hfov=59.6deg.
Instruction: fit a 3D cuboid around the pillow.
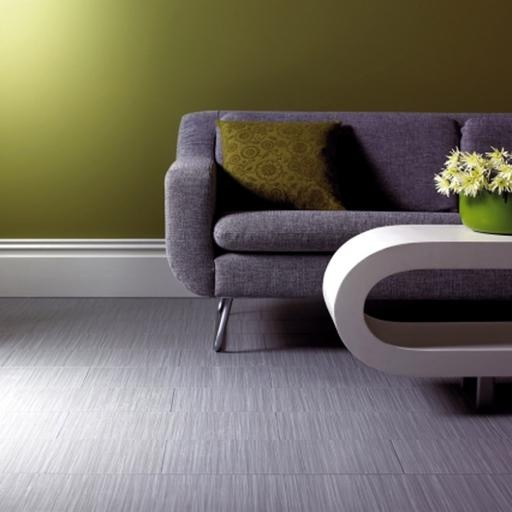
[{"bbox_3d":[0.098,-0.373,1.787,0.404,0.136,0.417,3,73,3],"label":"pillow"}]
